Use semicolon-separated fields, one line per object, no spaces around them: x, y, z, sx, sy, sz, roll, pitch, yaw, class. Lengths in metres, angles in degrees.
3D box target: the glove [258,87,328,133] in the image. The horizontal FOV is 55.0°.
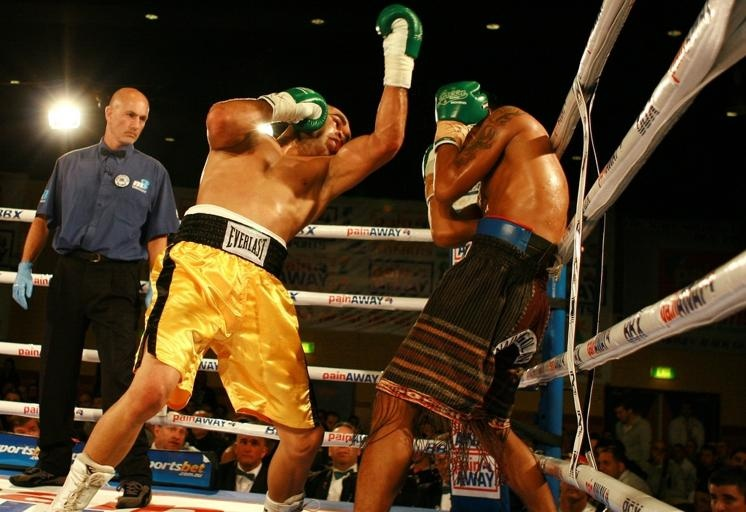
-0.461;-0.861;4.254;0.321;0.254;0.150;5;-13;-11;glove
